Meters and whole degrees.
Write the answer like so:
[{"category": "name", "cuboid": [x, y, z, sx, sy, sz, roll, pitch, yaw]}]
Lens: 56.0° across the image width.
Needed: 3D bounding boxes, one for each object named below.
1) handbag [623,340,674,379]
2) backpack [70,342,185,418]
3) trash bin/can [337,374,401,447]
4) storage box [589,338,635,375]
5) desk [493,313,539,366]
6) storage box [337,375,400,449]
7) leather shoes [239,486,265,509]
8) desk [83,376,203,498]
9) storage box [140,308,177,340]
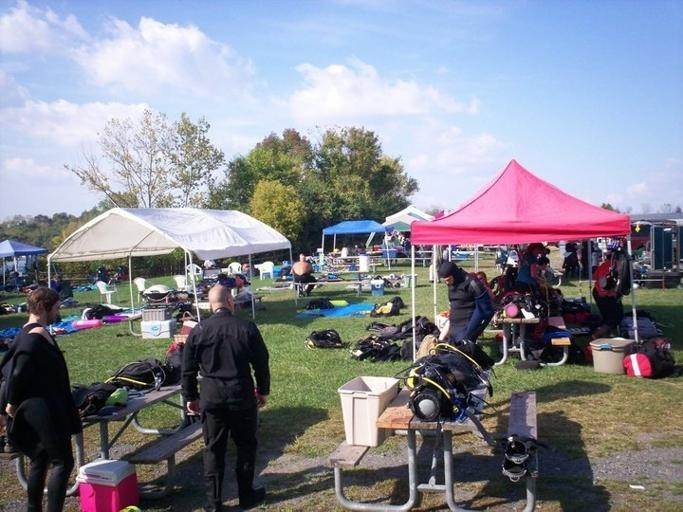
[{"category": "handbag", "cuboid": [4.952, 1.726, 10.482, 0.758, 0.752, 0.478, 15, -23, -39]}, {"category": "backpack", "cuboid": [-2.768, 1.600, 8.093, 0.688, 0.390, 1.053, 5, 9, 23]}, {"category": "trash bin/can", "cuboid": [0.310, 1.774, 7.332, 0.534, 0.542, 0.831, -1, -1, 15]}, {"category": "storage box", "cuboid": [4.527, 1.622, 10.747, 0.700, 0.517, 0.796, 0, 11, 37]}, {"category": "desk", "cuboid": [3.025, 1.473, 11.222, 0.820, 0.841, 0.817, 1, 6, 26]}, {"category": "storage box", "cuboid": [0.324, 1.778, 7.409, 0.578, 0.591, 0.904, -1, -1, 15]}, {"category": "leather shoes", "cuboid": [-0.988, 2.764, 7.321, 0.347, 0.177, 0.107, -5, 2, -42]}, {"category": "desk", "cuboid": [-2.369, 2.220, 7.911, 1.135, 0.648, 1.332, 1, 3, 16]}, {"category": "storage box", "cuboid": [-4.298, 1.594, 15.226, 0.662, 0.674, 0.687, 0, 1, 4]}]
